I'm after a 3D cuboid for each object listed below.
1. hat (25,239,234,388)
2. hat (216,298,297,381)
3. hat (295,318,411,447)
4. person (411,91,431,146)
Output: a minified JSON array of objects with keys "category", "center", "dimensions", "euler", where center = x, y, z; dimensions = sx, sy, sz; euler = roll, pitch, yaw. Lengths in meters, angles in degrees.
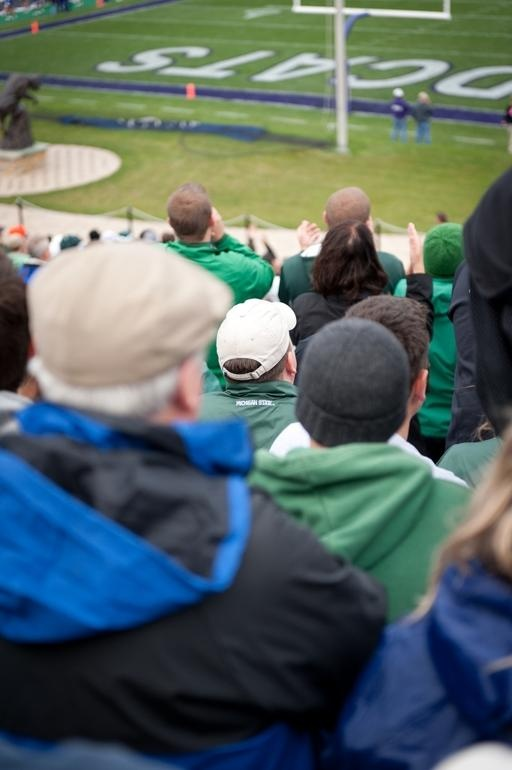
[{"category":"hat","center":[-0.176,-0.101,1.045],"dimensions":[0.275,0.193,0.169],"euler":[-1,18,2]},{"category":"hat","center":[0.029,-0.187,3.007],"dimensions":[0.262,0.187,0.360],"euler":[9,48,23]},{"category":"hat","center":[0.208,-0.031,1.697],"dimensions":[0.262,0.230,0.295],"euler":[3,32,8]},{"category":"person","center":[2.862,-4.573,12.677],"dimensions":[0.277,0.833,0.985],"euler":[2,18,11]}]
